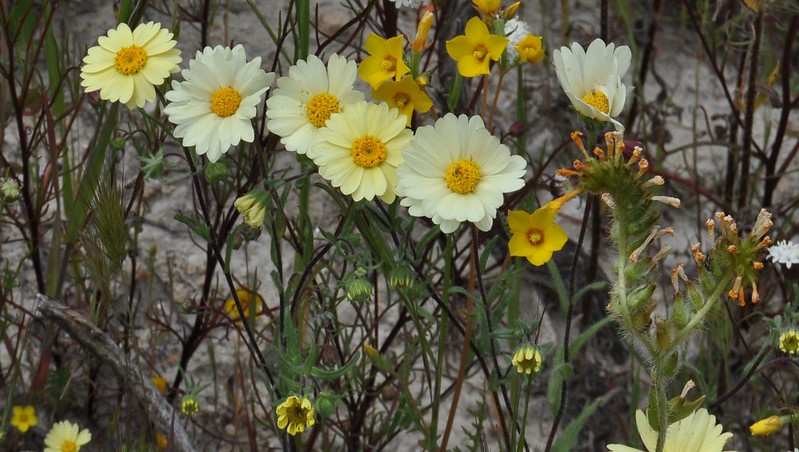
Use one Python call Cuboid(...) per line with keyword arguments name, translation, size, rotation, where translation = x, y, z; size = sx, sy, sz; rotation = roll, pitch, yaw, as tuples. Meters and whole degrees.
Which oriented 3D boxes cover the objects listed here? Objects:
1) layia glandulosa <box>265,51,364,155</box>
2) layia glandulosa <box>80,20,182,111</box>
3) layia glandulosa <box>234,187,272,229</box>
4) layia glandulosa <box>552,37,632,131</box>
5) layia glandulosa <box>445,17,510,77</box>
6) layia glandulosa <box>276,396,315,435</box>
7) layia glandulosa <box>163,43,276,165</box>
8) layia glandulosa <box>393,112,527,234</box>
Cuboid(name="layia glandulosa", translation=(-0.219, -0.416, 2.363), size=(0.311, 0.138, 0.346), rotation=(-1, -5, 13))
Cuboid(name="layia glandulosa", translation=(-0.787, -0.457, 2.357), size=(0.240, 0.281, 0.060), rotation=(-23, -22, 10))
Cuboid(name="layia glandulosa", translation=(-0.426, -0.041, 2.295), size=(0.107, 0.088, 0.097), rotation=(-6, -41, 7))
Cuboid(name="layia glandulosa", translation=(0.531, -0.376, 2.276), size=(0.248, 0.292, 0.194), rotation=(-4, -42, 7))
Cuboid(name="layia glandulosa", translation=(0.225, -0.520, 2.276), size=(0.177, 0.156, 0.112), rotation=(-4, -39, 5))
Cuboid(name="layia glandulosa", translation=(-0.297, 0.549, 2.261), size=(0.104, 0.091, 0.108), rotation=(-10, -41, 11))
Cuboid(name="layia glandulosa", translation=(-0.505, -0.406, 2.319), size=(0.267, 0.094, 0.313), rotation=(0, -28, 9))
Cuboid(name="layia glandulosa", translation=(0.203, -0.197, 2.336), size=(0.397, 0.164, 0.430), rotation=(31, -13, -9))
